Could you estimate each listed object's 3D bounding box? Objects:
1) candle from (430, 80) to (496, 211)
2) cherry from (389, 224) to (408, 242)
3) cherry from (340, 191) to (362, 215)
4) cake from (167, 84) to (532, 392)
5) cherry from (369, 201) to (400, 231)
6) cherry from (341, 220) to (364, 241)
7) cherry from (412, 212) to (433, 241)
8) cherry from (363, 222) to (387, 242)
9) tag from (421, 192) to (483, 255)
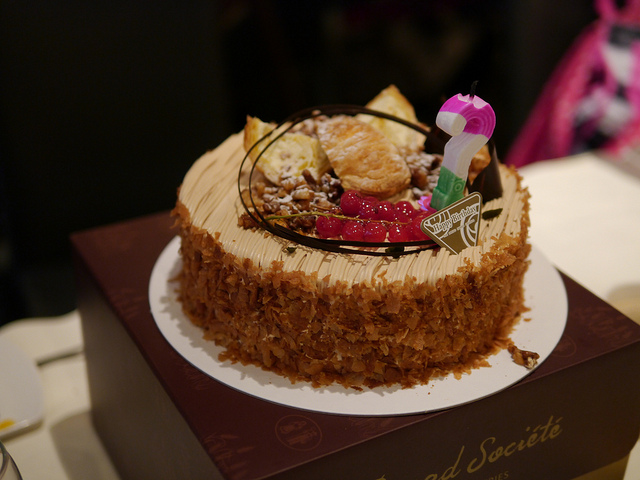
[{"bbox_3d":[0.487,-0.369,2.246,0.274,0.432,0.218,-5,37,-16],"label":"candle"},{"bbox_3d":[0.273,-0.014,2.063,0.049,0.053,0.077,-13,79,6],"label":"cherry"},{"bbox_3d":[0.112,-0.133,2.192,0.069,0.092,0.070,12,7,-14],"label":"cherry"},{"bbox_3d":[0.108,0.018,2.249,1.415,0.576,0.966,6,47,6],"label":"cake"},{"bbox_3d":[0.230,-0.096,2.164,0.090,0.122,0.098,10,28,21],"label":"cherry"},{"bbox_3d":[0.114,-0.031,2.075,0.056,0.065,0.071,0,2,-39],"label":"cherry"},{"bbox_3d":[0.362,-0.046,2.091,0.077,0.090,0.041,13,-8,-24],"label":"cherry"},{"bbox_3d":[0.195,-0.037,2.093,0.059,0.065,0.060,21,21,27],"label":"cherry"},{"bbox_3d":[0.464,-0.037,2.033,0.263,0.177,0.092,-24,48,-20],"label":"tag"}]
